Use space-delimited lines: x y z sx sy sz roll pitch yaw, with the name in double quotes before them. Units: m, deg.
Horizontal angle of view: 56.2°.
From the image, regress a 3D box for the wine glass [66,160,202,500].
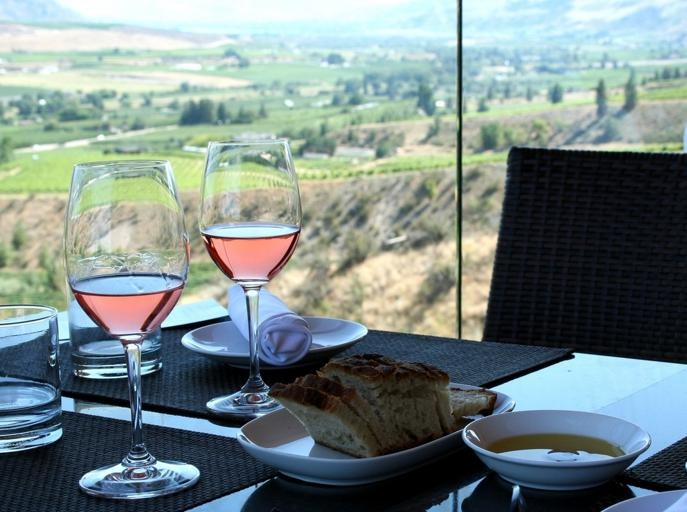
"wine glass" -0.168 0.046 0.514 0.098 0.255 0.130 -5 5 -16
